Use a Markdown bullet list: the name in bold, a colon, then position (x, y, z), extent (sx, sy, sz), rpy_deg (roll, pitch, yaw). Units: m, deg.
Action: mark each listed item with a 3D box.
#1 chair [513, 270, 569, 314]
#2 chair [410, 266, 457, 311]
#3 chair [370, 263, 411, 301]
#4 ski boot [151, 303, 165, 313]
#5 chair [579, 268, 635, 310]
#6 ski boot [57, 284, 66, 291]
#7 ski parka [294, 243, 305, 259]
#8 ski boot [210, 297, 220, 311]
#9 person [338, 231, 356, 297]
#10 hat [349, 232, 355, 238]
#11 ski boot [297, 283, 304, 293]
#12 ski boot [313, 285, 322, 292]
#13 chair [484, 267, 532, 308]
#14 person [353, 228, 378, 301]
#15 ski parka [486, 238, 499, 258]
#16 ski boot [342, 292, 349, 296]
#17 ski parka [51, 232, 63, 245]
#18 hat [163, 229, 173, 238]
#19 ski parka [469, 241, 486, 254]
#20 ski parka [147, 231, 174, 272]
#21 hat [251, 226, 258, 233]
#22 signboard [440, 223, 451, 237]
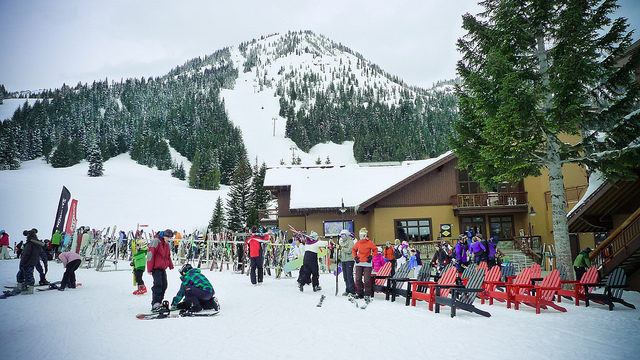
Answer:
- **chair**: position (10.658, 5.357, 21.805), extent (2.166, 2.124, 1.643), rpy_deg (7, -9, -17)
- **chair**: position (5.769, 5.334, 22.529), extent (2.059, 2.175, 1.821), rpy_deg (2, -9, -20)
- **chair**: position (3.613, 5.535, 24.512), extent (2.269, 1.945, 1.601), rpy_deg (-2, -10, -18)
- **ski boot**: position (-7.647, 6.085, 21.363), extent (0.580, 0.403, 0.384), rpy_deg (-6, -11, 30)
- **chair**: position (13.828, 5.479, 22.680), extent (2.485, 2.469, 1.885), rpy_deg (4, -12, -27)
- **ski boot**: position (-14.584, 6.084, 25.448), extent (0.411, 0.312, 0.254), rpy_deg (-3, 1, 1)
- **ski parka**: position (-1.205, 4.237, 26.970), extent (0.368, 0.861, 1.839), rpy_deg (1, -10, -10)
- **ski boot**: position (-5.039, 5.957, 21.627), extent (0.286, 0.676, 0.278), rpy_deg (-11, -9, -36)
- **person**: position (1.449, 4.483, 23.932), extent (0.826, 3.446, 0.702), rpy_deg (-2, -9, 9)
- **hat**: position (2.876, 4.871, 39.979), extent (0.387, 0.539, 0.648), rpy_deg (0, -10, 44)
- **ski boot**: position (-1.061, 6.056, 25.182), extent (0.180, 0.555, 0.231), rpy_deg (-14, 30, -7)
- **ski boot**: position (-0.166, 6.136, 25.255), extent (0.322, 0.251, 0.235), rpy_deg (2, -3, 5)
- **chair**: position (9.681, 5.438, 22.764), extent (2.349, 2.475, 1.858), rpy_deg (-6, -11, 40)
- **person**: position (2.289, 4.392, 23.421), extent (1.103, 3.567, 0.729), rpy_deg (-1, -9, 3)
- **ski parka**: position (9.803, 3.903, 25.757), extent (0.874, 1.097, 0.299), rpy_deg (6, -11, -34)
- **ski boot**: position (1.345, 6.137, 24.132), extent (0.250, 0.178, 0.156), rpy_deg (3, -10, 9)
- **ski parka**: position (-21.052, 4.718, 36.072), extent (0.524, 0.941, 0.492), rpy_deg (7, -12, -38)
- **hat**: position (-7.529, 2.604, 22.319), extent (0.370, 0.288, 0.380), rpy_deg (-22, -58, 16)
- **ski parka**: position (9.023, 3.872, 25.723), extent (0.290, 0.608, 0.898), rpy_deg (4, -14, -39)
- **ski parka**: position (-7.909, 3.583, 22.305), extent (1.177, 1.915, 0.497), rpy_deg (8, -13, -43)
- **hat**: position (-3.910, 2.953, 26.844), extent (0.336, 0.390, 0.922), rpy_deg (1, -10, -9)
- **signboard**: position (11.156, 4.538, 40.051), extent (1.143, 1.649, 0.118), rpy_deg (1, 2, 8)
